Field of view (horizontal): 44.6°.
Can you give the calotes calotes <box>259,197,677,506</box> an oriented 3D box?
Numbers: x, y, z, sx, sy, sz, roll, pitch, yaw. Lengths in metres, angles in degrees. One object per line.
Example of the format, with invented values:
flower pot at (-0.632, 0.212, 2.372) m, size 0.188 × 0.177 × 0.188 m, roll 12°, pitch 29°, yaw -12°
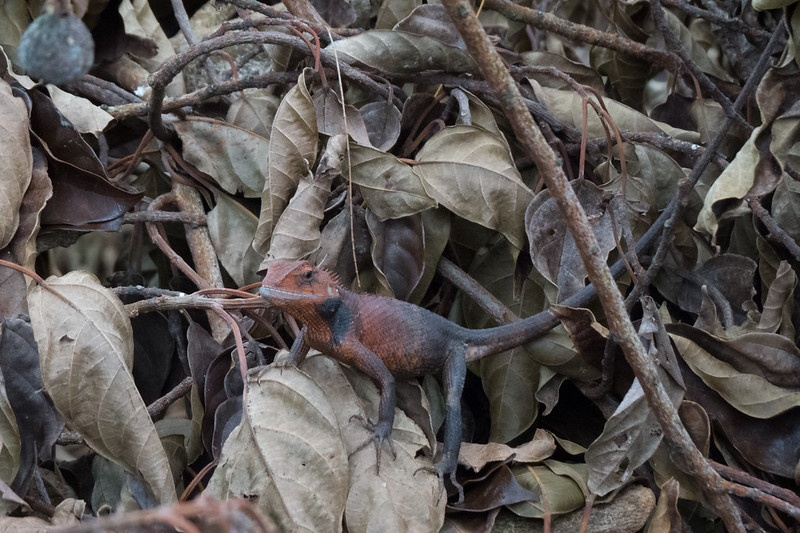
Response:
calotes calotes at (0.116, 0.160, 2.368) m, size 0.950 × 0.684 × 0.471 m, roll 3°, pitch 10°, yaw -27°
